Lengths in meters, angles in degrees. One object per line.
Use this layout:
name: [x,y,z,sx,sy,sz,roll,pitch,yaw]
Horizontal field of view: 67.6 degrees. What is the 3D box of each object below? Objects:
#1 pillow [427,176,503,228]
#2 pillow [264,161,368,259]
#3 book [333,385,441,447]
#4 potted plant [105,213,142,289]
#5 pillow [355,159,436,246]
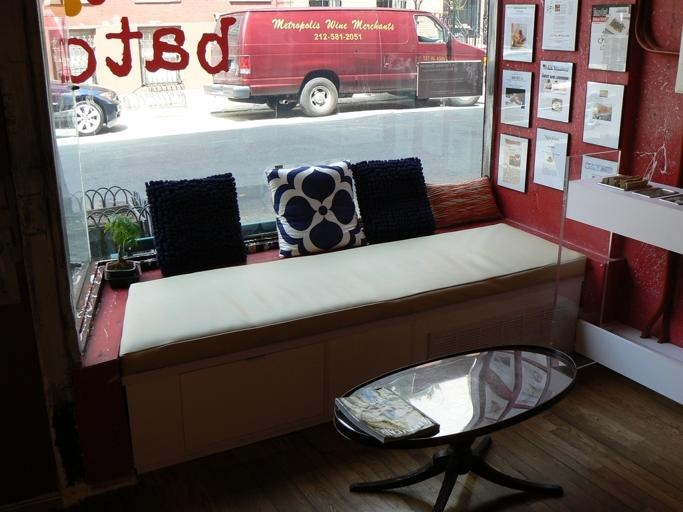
pillow: [0.919,-0.397,3.880,0.609,0.356,0.174,-9,-11,-21]
pillow: [-0.165,-0.309,3.423,0.645,0.596,0.225,-11,10,-25]
book: [0.195,0.634,2.026,0.187,0.034,0.244,-11,22,-25]
potted plant: [-1.297,-0.035,2.994,0.259,0.397,0.232,16,13,33]
pillow: [0.356,-0.373,3.539,0.605,0.576,0.192,-10,-1,-24]
